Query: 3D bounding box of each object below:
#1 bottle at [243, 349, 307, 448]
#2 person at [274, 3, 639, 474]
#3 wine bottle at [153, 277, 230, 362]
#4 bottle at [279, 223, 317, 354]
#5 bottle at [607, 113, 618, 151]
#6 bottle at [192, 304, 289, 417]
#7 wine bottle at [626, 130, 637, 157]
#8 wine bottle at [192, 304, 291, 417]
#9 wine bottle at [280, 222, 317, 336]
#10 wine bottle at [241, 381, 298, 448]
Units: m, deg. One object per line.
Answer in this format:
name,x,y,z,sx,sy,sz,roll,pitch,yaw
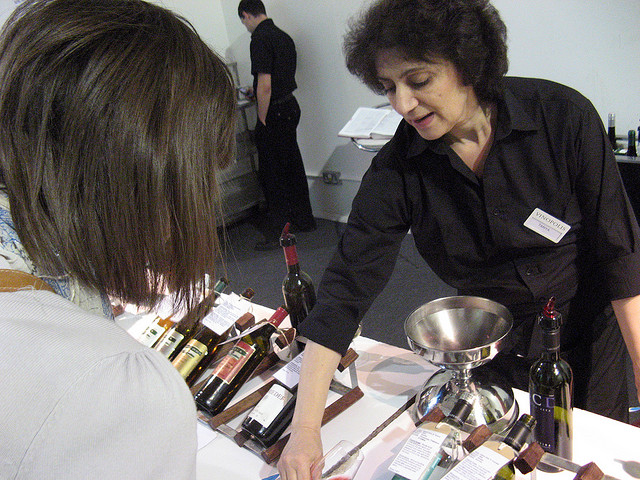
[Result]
bottle,-0.114,0.402,1.215,0.058,0.054,0.232,36,42,2
person,0.436,-0.011,1.298,1.054,1.169,0.538,0,13,-5
wine bottle,-0.363,0.248,1.422,0.077,0.342,0.085,39,-25,-31
bottle,-0.061,0.151,1.446,0.093,0.433,0.097,-7,31,4
bottle,1.577,-0.576,2.623,0.061,0.184,0.190,9,16,30
bottle,-0.217,0.334,1.314,0.092,0.087,0.354,24,49,18
wine bottle,1.598,-0.488,2.487,0.049,0.127,0.116,10,16,32
wine bottle,-0.215,0.334,1.314,0.101,0.093,0.383,31,54,11
wine bottle,-0.064,0.137,1.435,0.084,0.378,0.088,-7,26,4
wine bottle,-0.117,0.419,1.193,0.092,0.098,0.128,11,17,33
